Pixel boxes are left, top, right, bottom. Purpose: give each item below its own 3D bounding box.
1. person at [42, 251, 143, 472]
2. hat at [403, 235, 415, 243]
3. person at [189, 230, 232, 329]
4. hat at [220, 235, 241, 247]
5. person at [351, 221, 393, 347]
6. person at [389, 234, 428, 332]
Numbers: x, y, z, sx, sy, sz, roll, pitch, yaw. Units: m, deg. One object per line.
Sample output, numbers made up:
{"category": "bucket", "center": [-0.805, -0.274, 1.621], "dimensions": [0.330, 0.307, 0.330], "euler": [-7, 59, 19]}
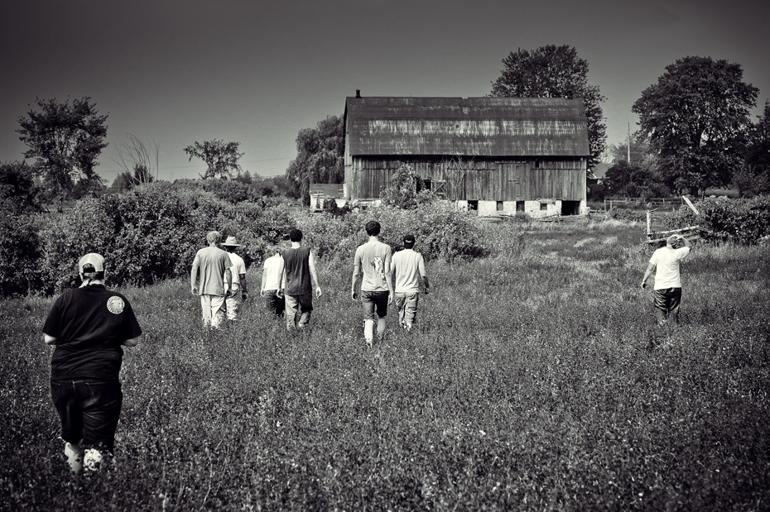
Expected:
{"category": "person", "center": [-4.842, 1.751, 11.103], "dimensions": [1.273, 3.524, 0.799], "euler": [2, 3, 11]}
{"category": "hat", "center": [0.592, -0.400, 15.523], "dimensions": [0.263, 0.197, 0.206], "euler": [1, 4, -17]}
{"category": "person", "center": [-4.168, 0.596, 16.478], "dimensions": [0.918, 2.635, 0.794], "euler": [6, 19, -5]}
{"category": "hat", "center": [-3.841, -0.329, 17.074], "dimensions": [0.471, 0.231, 0.537], "euler": [2, -6, -4]}
{"category": "person", "center": [-0.265, 0.585, 15.494], "dimensions": [0.903, 2.764, 1.197], "euler": [2, 3, -1]}
{"category": "person", "center": [0.567, 0.610, 15.853], "dimensions": [0.848, 2.260, 0.995], "euler": [2, 3, 1]}
